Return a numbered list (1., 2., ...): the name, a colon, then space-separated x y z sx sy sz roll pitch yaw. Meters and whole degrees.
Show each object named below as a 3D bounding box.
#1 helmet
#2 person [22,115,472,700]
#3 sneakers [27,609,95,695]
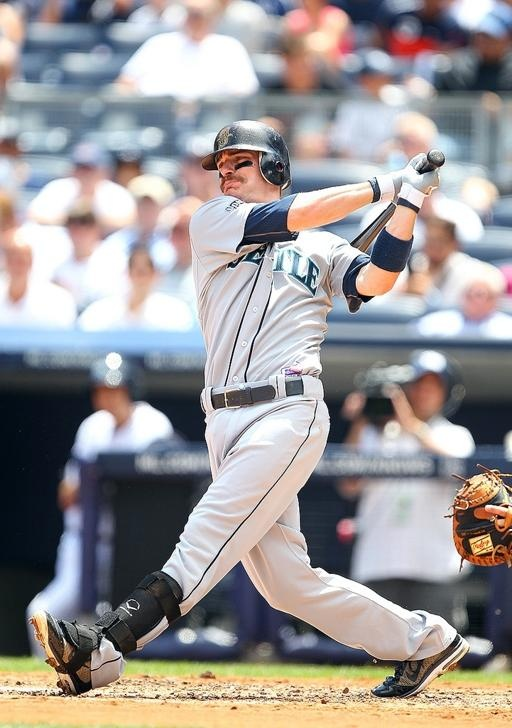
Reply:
1. helmet: 0.002 -0.638 3.893 0.267 0.169 0.197 2 -11 -29
2. person: 0.022 0.182 3.715 1.042 1.551 1.373 1 30 11
3. sneakers: -0.506 0.777 3.410 0.142 0.307 0.102 -12 32 -10
